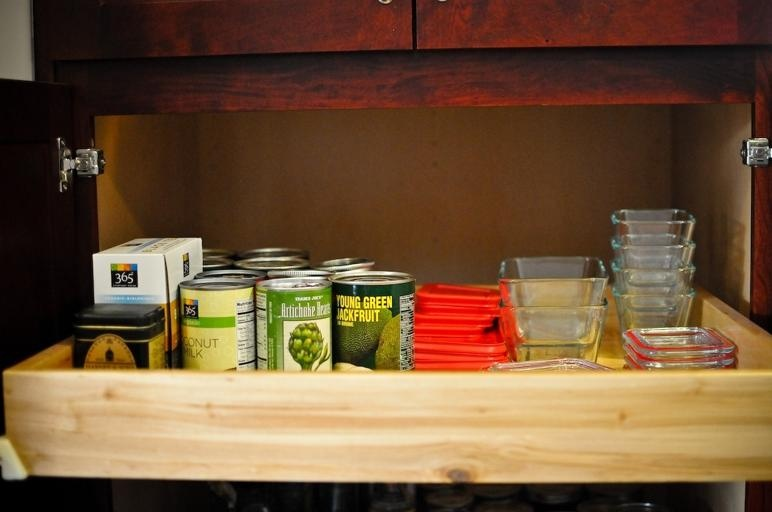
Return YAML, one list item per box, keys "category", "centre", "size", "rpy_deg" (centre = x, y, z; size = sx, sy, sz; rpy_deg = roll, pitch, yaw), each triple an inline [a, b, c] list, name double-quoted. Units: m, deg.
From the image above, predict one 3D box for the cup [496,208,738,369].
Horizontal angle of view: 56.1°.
- category: "cup"
  centre: [0.430, 0.065, 1.421]
  size: [0.392, 0.133, 0.273]
  rpy_deg: [-3, 8, 4]

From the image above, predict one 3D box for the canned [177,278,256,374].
- category: "canned"
  centre: [-0.285, 0.127, 1.333]
  size: [0.149, 0.157, 0.147]
  rpy_deg: [1, 3, 7]
